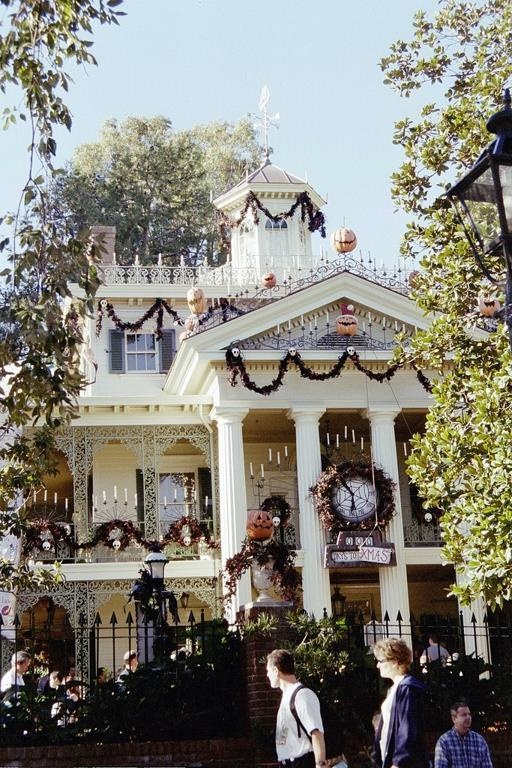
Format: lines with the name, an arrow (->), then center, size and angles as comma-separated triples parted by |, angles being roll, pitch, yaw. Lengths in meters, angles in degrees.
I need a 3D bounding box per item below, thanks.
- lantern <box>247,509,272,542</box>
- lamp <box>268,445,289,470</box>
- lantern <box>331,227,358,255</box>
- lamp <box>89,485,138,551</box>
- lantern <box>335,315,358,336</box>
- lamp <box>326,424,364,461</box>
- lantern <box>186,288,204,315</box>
lantern -> 0.062, 2.216, 14.015 | 0.380, 0.490, 0.454 | -5, -15, -1
lamp -> 0.600, 1.983, 23.690 | 0.688, 0.652, 0.202 | 6, -18, -27
lantern -> 2.024, -3.318, 20.099 | 0.485, 0.454, 1.329 | -6, -14, 2
lamp -> -3.415, 3.213, 21.896 | 1.351, 1.426, 1.202 | 1, 11, 37
lantern -> 1.917, -1.242, 19.298 | 0.458, 0.598, 0.436 | 3, -16, -8
lamp -> 2.279, 1.498, 22.819 | 0.956, 1.187, 0.925 | 0, -17, 1
lantern -> -1.404, -1.935, 21.043 | 0.330, 0.975, 0.691 | -5, -15, 0
